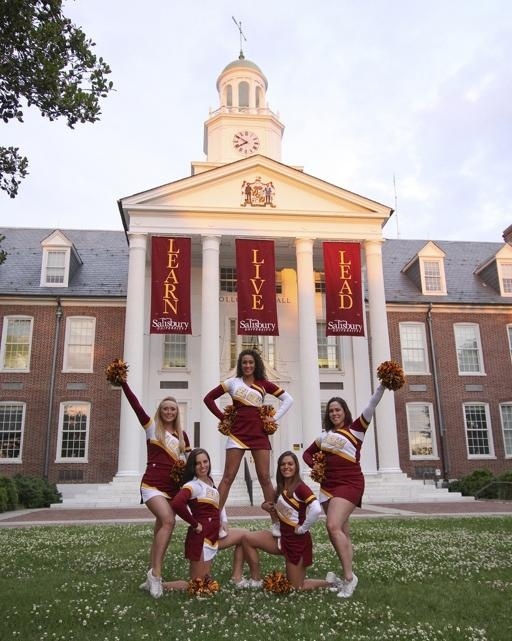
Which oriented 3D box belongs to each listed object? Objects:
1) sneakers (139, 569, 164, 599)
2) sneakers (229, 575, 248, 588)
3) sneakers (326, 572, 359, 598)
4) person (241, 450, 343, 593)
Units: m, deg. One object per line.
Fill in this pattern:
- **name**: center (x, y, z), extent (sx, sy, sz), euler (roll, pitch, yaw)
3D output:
- **sneakers**: center (-0.904, 2.319, 4.328), extent (0.200, 0.226, 0.478), euler (2, -14, -16)
- **sneakers**: center (-0.163, 2.475, 4.596), extent (0.142, 0.109, 0.250), euler (2, -25, -2)
- **sneakers**: center (0.779, 2.380, 4.401), extent (0.160, 0.180, 0.431), euler (-32, -22, 1)
- **person**: center (0.242, 1.855, 4.415), extent (0.778, 1.241, 0.783), euler (-1, -14, -2)
